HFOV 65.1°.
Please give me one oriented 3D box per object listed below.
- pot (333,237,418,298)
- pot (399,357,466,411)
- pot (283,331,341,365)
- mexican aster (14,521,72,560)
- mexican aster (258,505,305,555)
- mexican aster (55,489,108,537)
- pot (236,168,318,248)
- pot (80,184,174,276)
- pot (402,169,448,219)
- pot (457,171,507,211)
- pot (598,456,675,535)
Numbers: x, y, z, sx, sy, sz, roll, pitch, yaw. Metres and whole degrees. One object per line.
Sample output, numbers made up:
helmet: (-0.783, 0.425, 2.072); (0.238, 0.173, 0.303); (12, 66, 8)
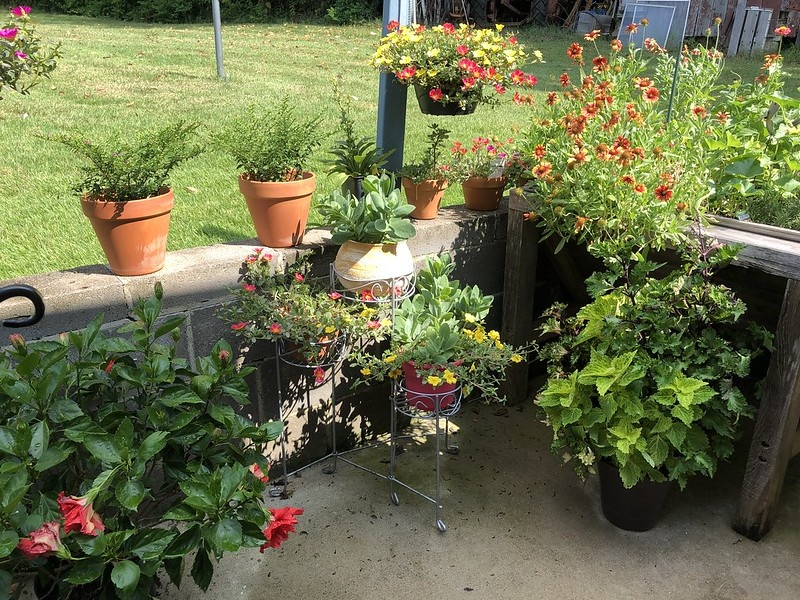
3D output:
pot: (-0.097, -0.143, 2.622); (0.268, 0.165, 0.245); (2, 6, 0)
pot: (0.136, 0.347, 2.635); (0.233, 0.184, 0.238); (0, 7, 0)
pot: (-0.359, 0.210, 2.609); (0.165, 0.066, 0.170); (0, 7, 0)
mexican aster: (-1.008, 0.699, 1.793); (0.165, 0.092, 0.118); (12, -11, -19)
mexican aster: (-0.404, 0.765, 2.149); (0.091, 0.201, 0.197); (22, 1, -9)
mexican aster: (-0.928, 0.623, 1.811); (0.093, 0.131, 0.127); (15, -34, -31)
pot: (-0.497, -0.410, 2.686); (0.306, 0.265, 0.298); (1, 15, 0)
pot: (-0.993, -0.267, 2.405); (0.313, 0.271, 0.325); (0, 19, 0)
pot: (0.112, -0.508, 3.030); (0.194, 0.160, 0.198); (2, 17, -1)
pot: (0.443, -0.543, 3.158); (0.176, 0.128, 0.176); (0, 11, 0)
pot: (0.977, 0.845, 2.645); (0.319, 0.245, 0.294); (1, 16, 0)
